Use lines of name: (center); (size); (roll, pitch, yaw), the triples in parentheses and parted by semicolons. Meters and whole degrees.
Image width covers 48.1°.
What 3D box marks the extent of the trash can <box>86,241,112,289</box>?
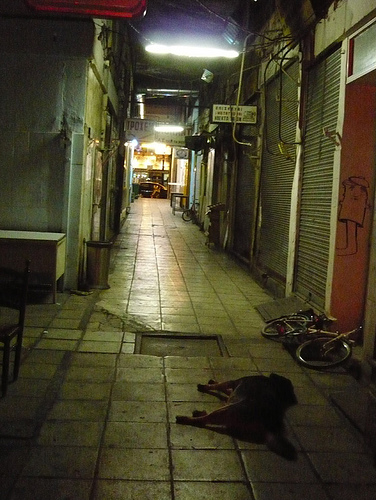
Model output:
trash can: (-1.593, 0.272, 7.393); (0.510, 0.788, 0.519); (3, 0, -4)

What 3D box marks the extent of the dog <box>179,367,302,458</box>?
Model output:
dog: (0.442, 0.948, 2.938); (0.577, 0.332, 1.093); (0, 3, -4)

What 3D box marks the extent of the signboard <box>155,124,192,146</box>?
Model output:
signboard: (-0.561, -4.826, 17.594); (1.160, 0.602, 1.241); (2, 6, 3)

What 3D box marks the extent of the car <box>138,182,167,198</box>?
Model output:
car: (-3.374, -5.736, 40.941); (2.479, 1.114, 1.454); (5, 14, 5)

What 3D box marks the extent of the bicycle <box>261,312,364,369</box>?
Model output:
bicycle: (1.405, 1.013, 4.874); (0.624, 0.514, 1.020); (-9, 11, -17)

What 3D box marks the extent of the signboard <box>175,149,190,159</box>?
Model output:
signboard: (-0.304, -5.436, 23.911); (0.761, 0.555, 0.725); (4, 4, -6)
